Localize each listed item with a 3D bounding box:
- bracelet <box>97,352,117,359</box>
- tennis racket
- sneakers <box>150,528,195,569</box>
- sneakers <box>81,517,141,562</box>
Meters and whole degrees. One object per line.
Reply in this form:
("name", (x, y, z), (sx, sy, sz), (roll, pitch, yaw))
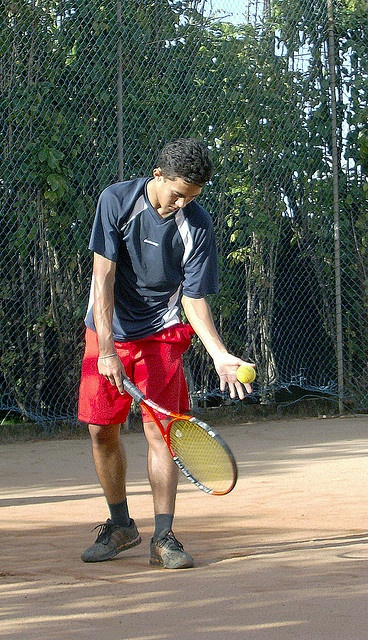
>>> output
("bracelet", (-0.264, 0.129, 2.497), (0.062, 0.020, 0.032), (-1, 0, -6))
("tennis racket", (-0.003, 0.381, 2.462), (0.051, 0.168, 0.660), (-20, 30, -20))
("sneakers", (-0.049, 0.774, 2.383), (0.074, 0.085, 0.184), (5, -11, -31))
("sneakers", (-0.252, 0.792, 2.571), (0.090, 0.109, 0.229), (-4, 8, 39))
